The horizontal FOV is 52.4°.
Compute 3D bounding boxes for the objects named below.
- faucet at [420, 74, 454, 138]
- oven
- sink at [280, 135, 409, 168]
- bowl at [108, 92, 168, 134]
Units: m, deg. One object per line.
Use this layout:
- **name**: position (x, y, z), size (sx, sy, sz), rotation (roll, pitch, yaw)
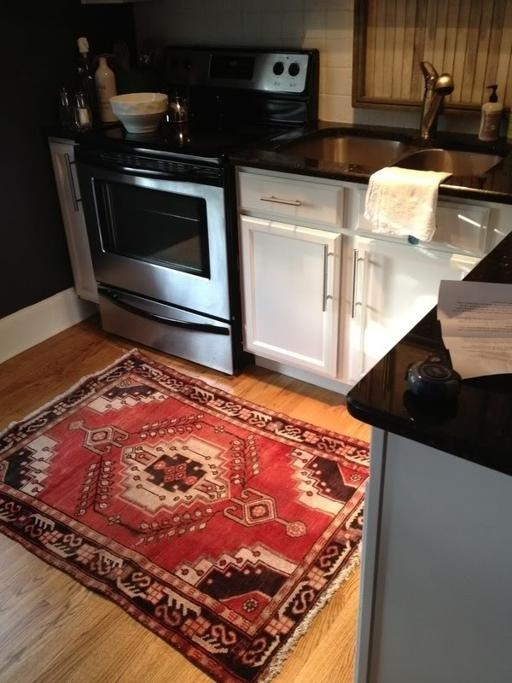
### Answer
- **faucet**: position (0.652, -0.856, 1.872), size (0.098, 0.246, 0.123), rotation (15, 45, 19)
- **oven**: position (-0.339, -0.525, 2.397), size (0.814, 0.770, 0.545), rotation (16, 32, 24)
- **sink**: position (0.337, -0.727, 1.974), size (0.217, 0.090, 0.274), rotation (19, 34, 32)
- **bowl**: position (-0.491, -0.977, 2.284), size (0.244, 0.148, 0.245), rotation (-3, 33, 2)
